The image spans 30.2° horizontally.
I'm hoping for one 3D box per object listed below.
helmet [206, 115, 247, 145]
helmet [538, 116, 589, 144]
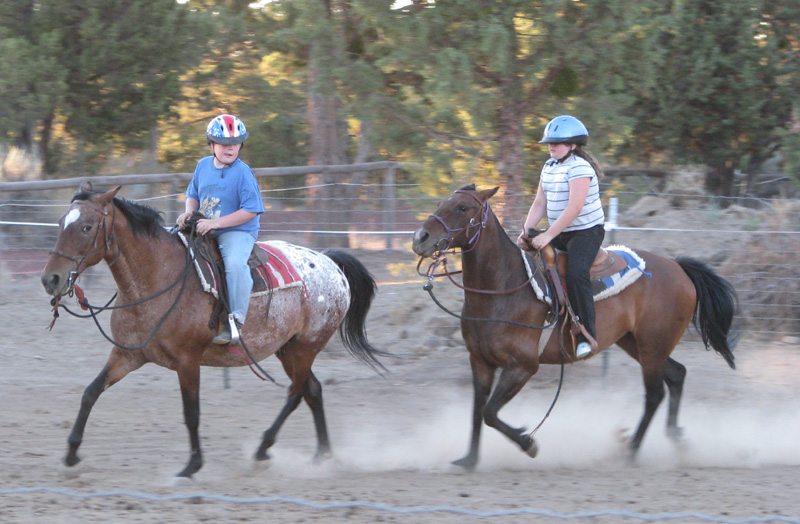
[{"bbox_3d":[-2.291,-1.728,19.515,0.490,0.377,0.223,-1,8,-7],"label":"helmet"},{"bbox_3d":[2.146,-1.758,19.819,0.647,0.224,0.400,3,-2,-28],"label":"helmet"}]
